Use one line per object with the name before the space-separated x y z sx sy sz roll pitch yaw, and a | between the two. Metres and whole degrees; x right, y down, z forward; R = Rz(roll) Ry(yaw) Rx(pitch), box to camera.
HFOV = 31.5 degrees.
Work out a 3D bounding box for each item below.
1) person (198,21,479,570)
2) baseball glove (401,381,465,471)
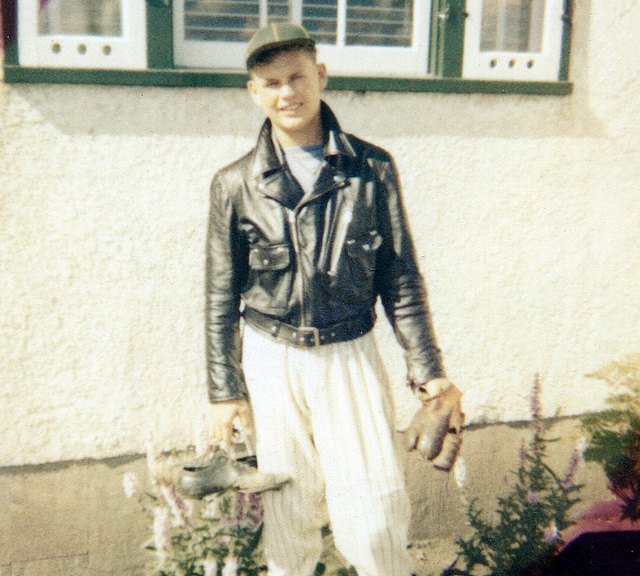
person | 0.053 0.204 4.825 1.055 1.987 0.393 -2 6 -6
baseball glove | 0.506 0.582 4.973 0.254 0.365 0.095 21 11 -6
